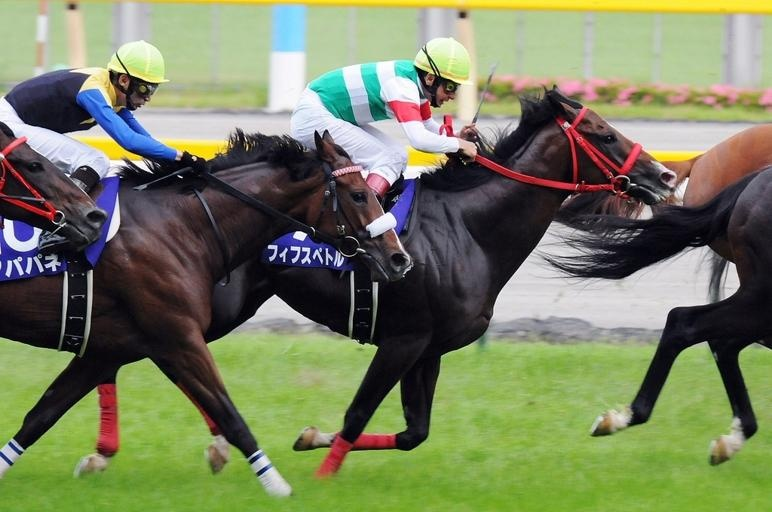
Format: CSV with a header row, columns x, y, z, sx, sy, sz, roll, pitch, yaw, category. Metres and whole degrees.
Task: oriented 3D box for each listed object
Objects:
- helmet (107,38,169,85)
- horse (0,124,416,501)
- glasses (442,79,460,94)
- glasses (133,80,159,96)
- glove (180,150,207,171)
x,y,z,sx,sy,sz,roll,pitch,yaw,category
-1.290,-0.992,4.780,0.345,0.130,0.216,13,15,10,helmet
-0.900,0.259,4.577,1.296,1.724,1.113,-8,18,-42,horse
0.355,-0.915,5.088,0.083,0.026,0.063,-1,40,-30,glasses
-1.256,-0.857,4.806,0.087,0.034,0.090,7,23,-28,glasses
-0.962,-0.475,4.660,0.154,0.048,0.071,21,-29,-10,glove
